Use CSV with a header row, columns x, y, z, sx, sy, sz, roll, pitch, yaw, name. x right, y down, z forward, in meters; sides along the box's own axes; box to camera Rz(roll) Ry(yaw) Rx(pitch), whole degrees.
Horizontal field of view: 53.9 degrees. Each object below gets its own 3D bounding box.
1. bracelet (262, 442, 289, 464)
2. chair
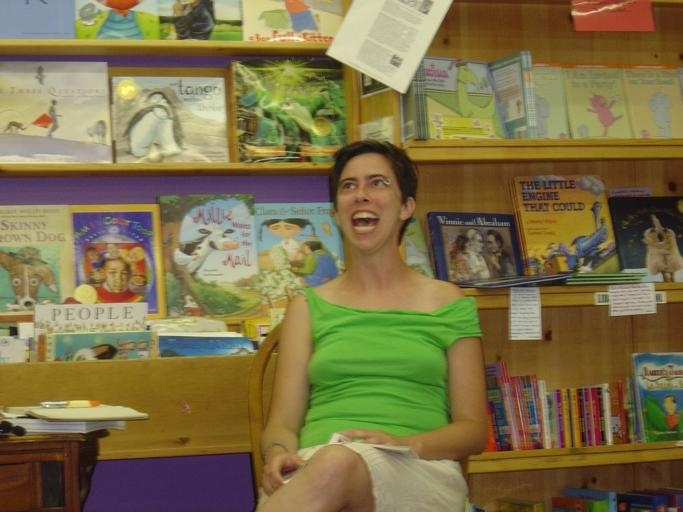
x,y,z,sx,sy,sz,roll,pitch,yaw,name
-0.194,0.573,1.973,0.079,0.043,0.060,1,-37,-12,bracelet
-0.176,0.495,2.221,0.198,0.418,0.191,5,13,-2,chair
